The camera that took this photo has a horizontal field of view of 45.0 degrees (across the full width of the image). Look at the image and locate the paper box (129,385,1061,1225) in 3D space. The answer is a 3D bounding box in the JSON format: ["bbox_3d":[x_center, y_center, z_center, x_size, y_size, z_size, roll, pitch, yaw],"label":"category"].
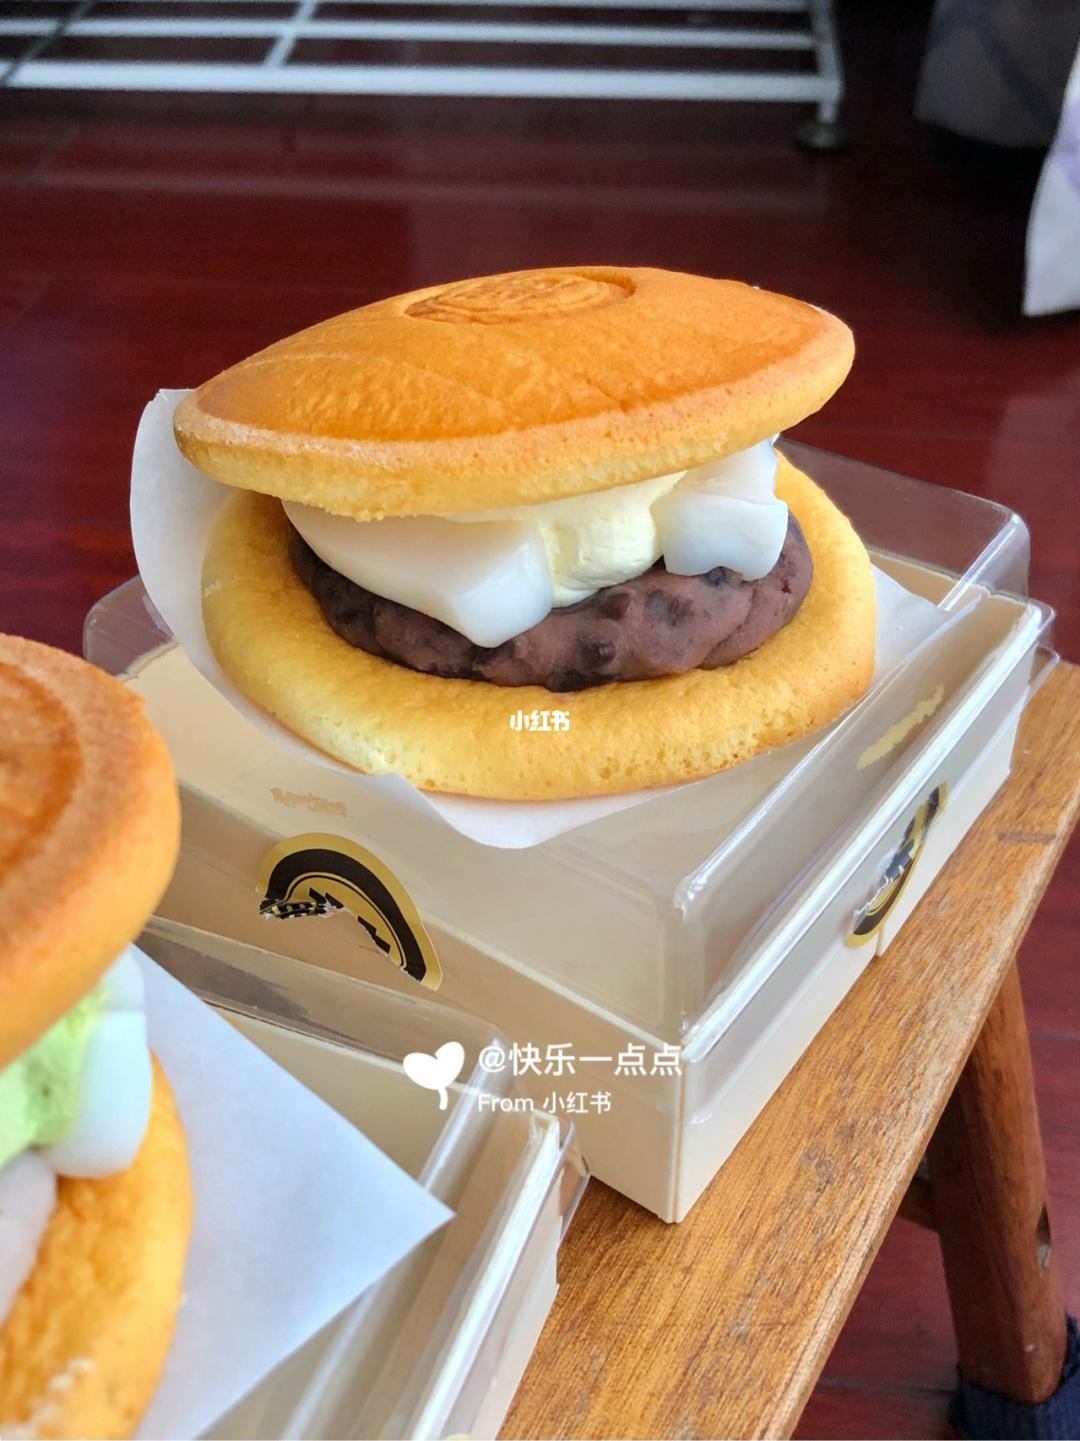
[{"bbox_3d":[-0.012,-0.005,0.918,0.654,0.231,0.607,9,34,18],"label":"paper box"}]

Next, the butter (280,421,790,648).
[{"bbox_3d":[-0.002,-0.087,0.644,0.250,0.071,0.106,-7,40,1],"label":"butter"}]
